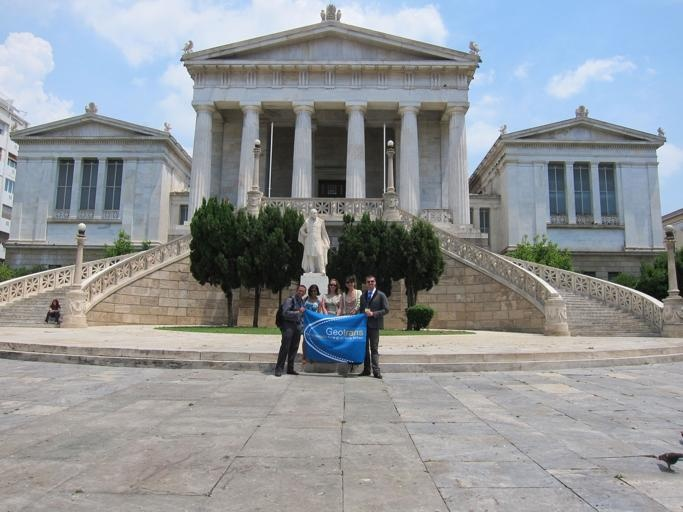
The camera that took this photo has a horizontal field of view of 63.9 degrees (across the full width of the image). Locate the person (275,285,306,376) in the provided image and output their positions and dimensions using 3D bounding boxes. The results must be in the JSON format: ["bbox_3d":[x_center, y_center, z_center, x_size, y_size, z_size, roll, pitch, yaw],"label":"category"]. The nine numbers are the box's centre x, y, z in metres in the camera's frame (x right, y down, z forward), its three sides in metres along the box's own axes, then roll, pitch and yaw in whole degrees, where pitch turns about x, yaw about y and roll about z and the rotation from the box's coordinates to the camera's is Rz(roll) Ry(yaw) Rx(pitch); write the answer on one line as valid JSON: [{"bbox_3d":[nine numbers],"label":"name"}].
[{"bbox_3d":[-1.059,1.476,10.888,0.547,1.714,1.064,0,-2,9],"label":"person"}]

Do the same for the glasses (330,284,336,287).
[{"bbox_3d":[-0.150,0.644,11.593,0.091,0.073,0.150,0,-2,18],"label":"glasses"}]

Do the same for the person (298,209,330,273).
[{"bbox_3d":[-1.029,-0.512,20.517,1.035,2.373,1.088,1,-2,-3],"label":"person"}]

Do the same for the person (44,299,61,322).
[{"bbox_3d":[-11.758,2.256,22.165,0.537,0.948,1.005,2,-2,-29],"label":"person"}]

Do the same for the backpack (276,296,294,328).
[{"bbox_3d":[-1.105,1.174,11.047,0.574,0.579,0.411,1,-8,5],"label":"backpack"}]

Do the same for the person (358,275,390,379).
[{"bbox_3d":[0.653,1.398,11.157,0.572,1.952,1.406,0,-2,4],"label":"person"}]

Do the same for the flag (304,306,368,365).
[{"bbox_3d":[-0.120,1.672,11.085,1.245,0.987,0.136,0,-17,10],"label":"flag"}]
